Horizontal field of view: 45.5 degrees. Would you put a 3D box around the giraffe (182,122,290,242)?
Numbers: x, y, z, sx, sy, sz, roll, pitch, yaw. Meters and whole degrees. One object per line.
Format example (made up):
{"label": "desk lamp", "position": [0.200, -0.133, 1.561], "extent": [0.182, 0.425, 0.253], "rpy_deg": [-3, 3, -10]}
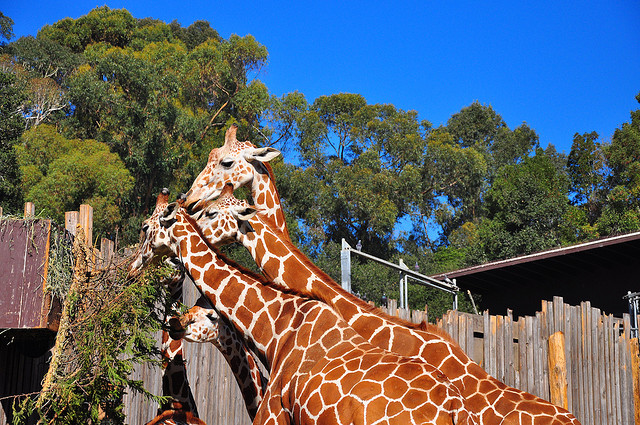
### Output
{"label": "giraffe", "position": [-1.462, -0.512, 13.108], "extent": [1.633, 1.214, 2.708], "rpy_deg": [-9, -52, -15]}
